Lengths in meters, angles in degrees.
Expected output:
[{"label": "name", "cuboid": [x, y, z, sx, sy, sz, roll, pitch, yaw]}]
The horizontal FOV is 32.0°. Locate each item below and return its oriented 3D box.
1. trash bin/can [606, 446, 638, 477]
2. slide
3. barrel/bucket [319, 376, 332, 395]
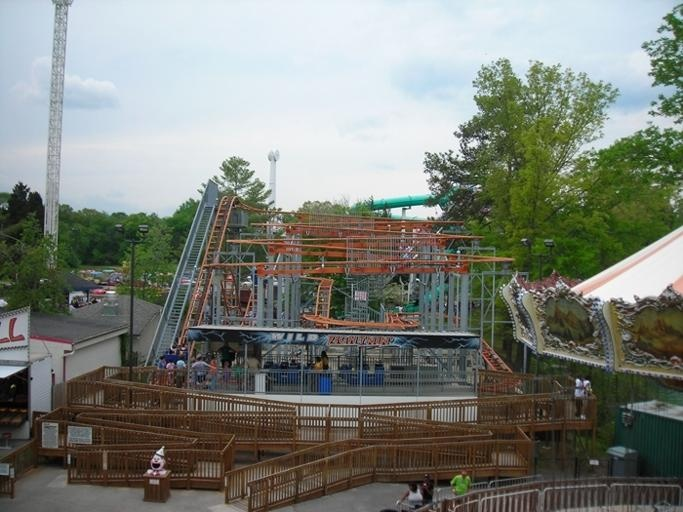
[{"label": "trash bin/can", "cuboid": [11.358, 8.288, 47.851, 1.123, 1.109, 0.863, 3, -6, 6]}, {"label": "slide", "cuboid": [3.994, 0.061, 60.601, 5.063, 7.464, 2.730, -2, -1, 9]}, {"label": "barrel/bucket", "cuboid": [-0.626, 5.364, 49.458, 0.515, 0.752, 0.218, 0, -4, 5]}]
